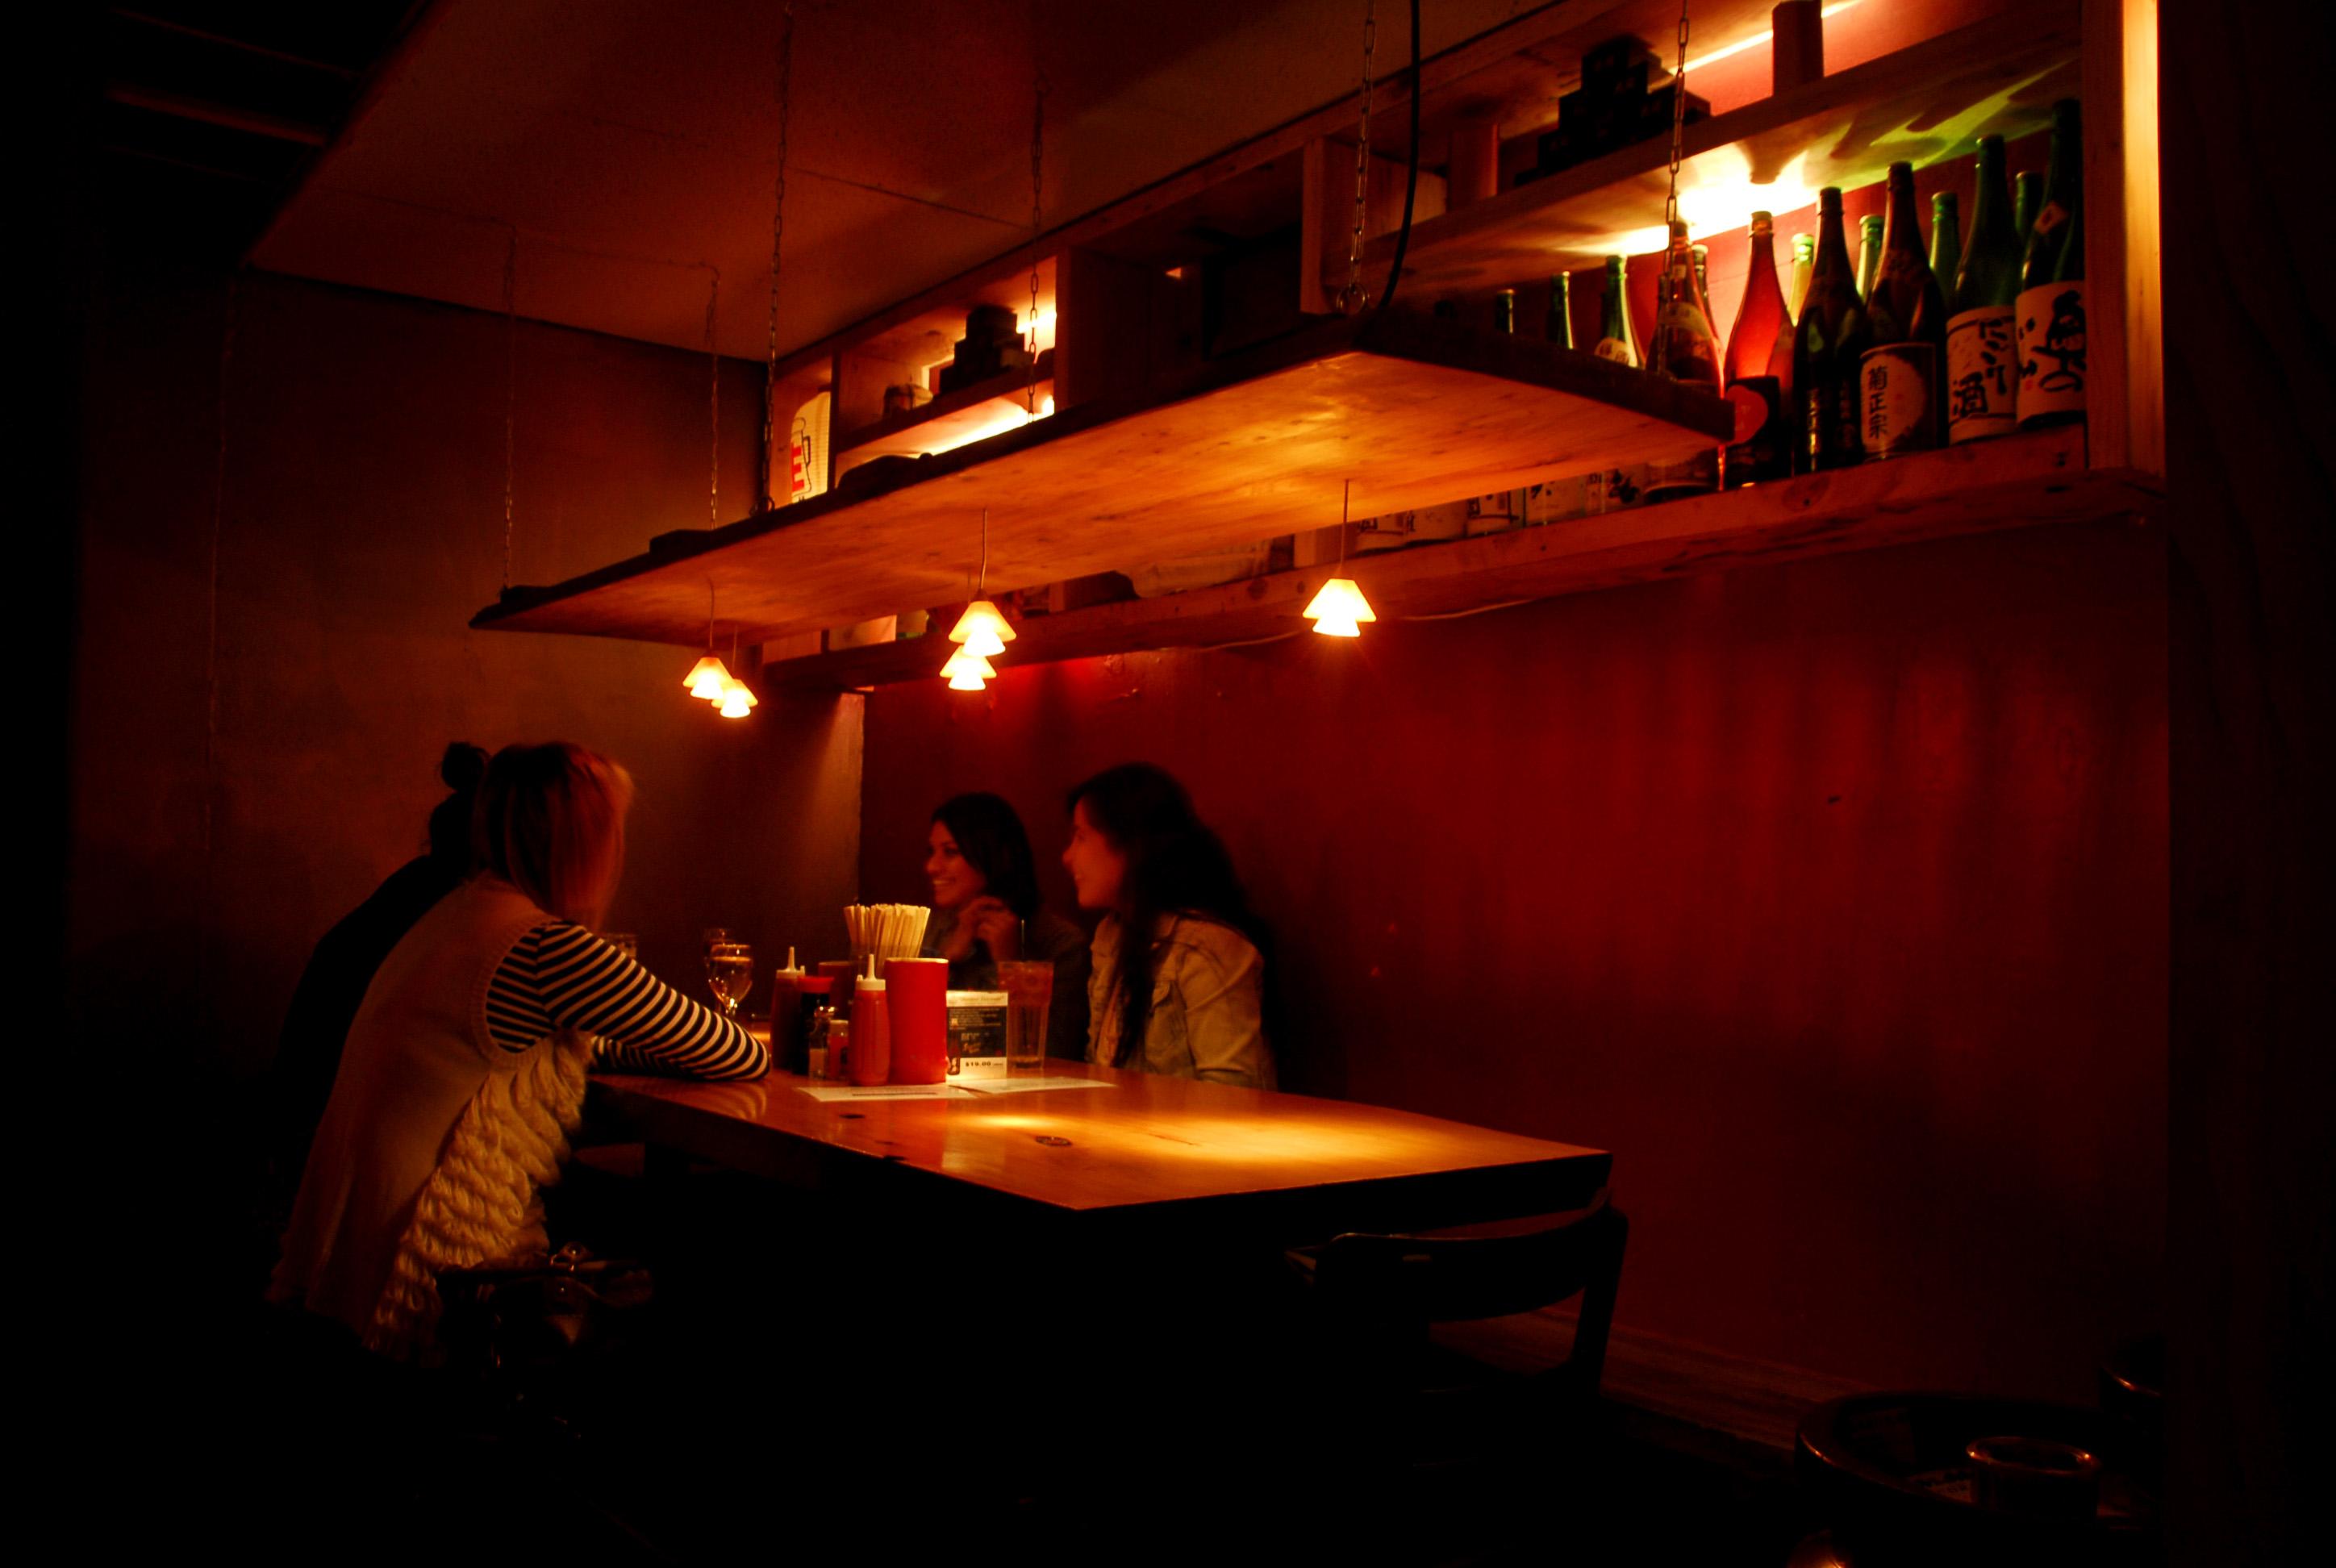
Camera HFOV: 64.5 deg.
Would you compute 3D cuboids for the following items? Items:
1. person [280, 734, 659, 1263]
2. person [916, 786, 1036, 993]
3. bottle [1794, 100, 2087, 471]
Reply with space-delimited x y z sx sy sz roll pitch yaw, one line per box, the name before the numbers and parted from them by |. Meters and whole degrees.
person | -0.979 0.346 2.725 0.409 0.833 0.509 3 -7 22
person | -0.426 0.240 4.228 0.259 0.454 0.776 6 -6 -6
bottle | 1.035 -0.623 2.483 0.407 0.405 0.399 5 -8 -21
